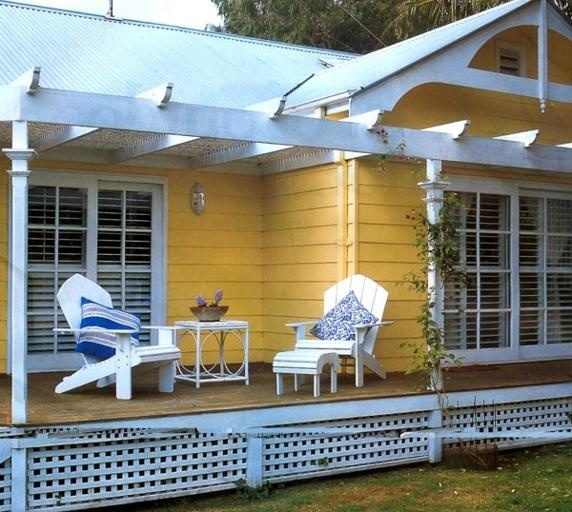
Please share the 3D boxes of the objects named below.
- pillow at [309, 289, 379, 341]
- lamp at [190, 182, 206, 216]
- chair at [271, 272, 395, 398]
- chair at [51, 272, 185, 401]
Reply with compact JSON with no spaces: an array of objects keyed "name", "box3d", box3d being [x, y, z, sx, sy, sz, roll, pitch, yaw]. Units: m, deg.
[{"name":"pillow","box3d":[0.550,0.512,9.490,0.138,0.618,0.639,26,-32,-4]},{"name":"lamp","box3d":[-0.995,-0.651,10.355,0.149,0.335,0.277,-1,-5,-7]},{"name":"chair","box3d":[0.428,0.744,8.831,0.823,1.125,1.341,-1,-2,28]},{"name":"chair","box3d":[-1.576,0.741,8.480,1.020,1.000,0.879,2,0,27]}]
